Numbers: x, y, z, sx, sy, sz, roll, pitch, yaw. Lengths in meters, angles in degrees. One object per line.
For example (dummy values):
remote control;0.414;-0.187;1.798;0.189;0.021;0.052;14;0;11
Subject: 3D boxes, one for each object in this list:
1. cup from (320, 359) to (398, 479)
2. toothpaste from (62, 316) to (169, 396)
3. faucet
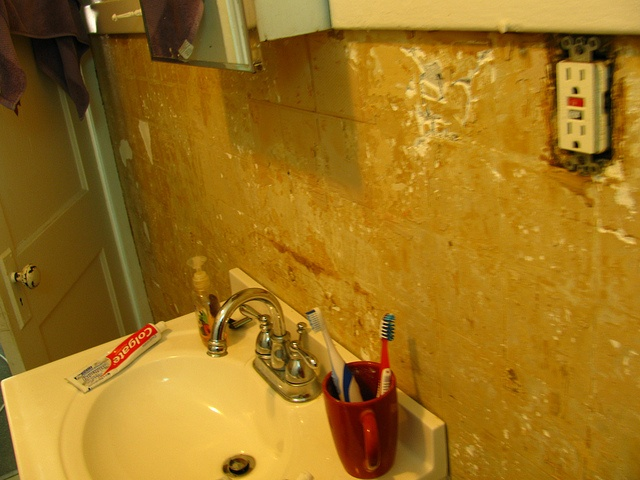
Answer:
cup;0.069;0.290;0.884;0.122;0.162;0.187;-6;22;0
toothpaste;-0.461;0.269;1.201;0.082;0.056;0.250;18;35;28
faucet;-0.089;0.133;1.054;0.198;0.217;0.327;-11;21;-32
